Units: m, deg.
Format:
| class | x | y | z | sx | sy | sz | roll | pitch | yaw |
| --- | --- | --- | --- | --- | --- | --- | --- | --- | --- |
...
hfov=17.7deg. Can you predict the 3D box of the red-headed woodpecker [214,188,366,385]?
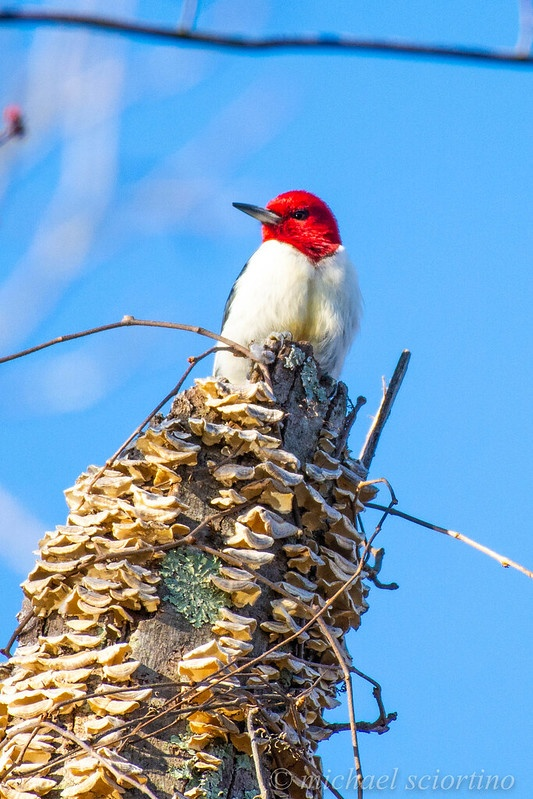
| class | x | y | z | sx | sy | sz | roll | pitch | yaw |
| --- | --- | --- | --- | --- | --- | --- | --- | --- | --- |
| red-headed woodpecker | 0.095 | -0.334 | 6.125 | 0.391 | 0.669 | 0.612 | 15 | -45 | -9 |
